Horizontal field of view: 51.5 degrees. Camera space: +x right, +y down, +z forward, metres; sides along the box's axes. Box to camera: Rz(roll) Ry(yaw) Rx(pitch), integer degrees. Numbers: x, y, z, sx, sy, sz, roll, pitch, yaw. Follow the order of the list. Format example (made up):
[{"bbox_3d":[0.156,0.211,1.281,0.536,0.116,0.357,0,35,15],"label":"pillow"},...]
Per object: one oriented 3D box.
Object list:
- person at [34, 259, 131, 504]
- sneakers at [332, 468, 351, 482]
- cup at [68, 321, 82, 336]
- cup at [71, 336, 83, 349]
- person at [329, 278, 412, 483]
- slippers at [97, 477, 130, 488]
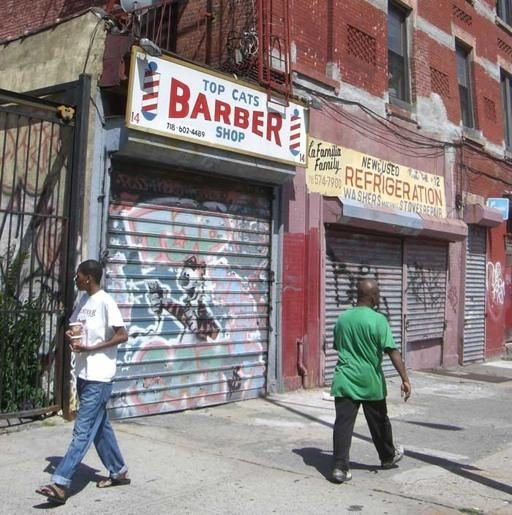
[{"bbox_3d":[-1.187,0.853,3.833,0.659,1.684,0.404,3,-6,-30],"label":"person"},{"bbox_3d":[0.703,1.775,4.333,0.194,0.132,0.076,4,-7,-35],"label":"sneakers"},{"bbox_3d":[-1.287,0.514,3.777,0.075,0.099,0.081,0,-6,0],"label":"cup"},{"bbox_3d":[-1.263,0.599,3.745,0.067,0.079,0.075,-1,-2,8],"label":"cup"},{"bbox_3d":[0.965,1.028,4.602,0.643,1.673,0.616,-1,-5,8],"label":"person"},{"bbox_3d":[-1.064,1.681,3.986,0.229,0.083,0.099,7,-8,-13],"label":"slippers"}]
